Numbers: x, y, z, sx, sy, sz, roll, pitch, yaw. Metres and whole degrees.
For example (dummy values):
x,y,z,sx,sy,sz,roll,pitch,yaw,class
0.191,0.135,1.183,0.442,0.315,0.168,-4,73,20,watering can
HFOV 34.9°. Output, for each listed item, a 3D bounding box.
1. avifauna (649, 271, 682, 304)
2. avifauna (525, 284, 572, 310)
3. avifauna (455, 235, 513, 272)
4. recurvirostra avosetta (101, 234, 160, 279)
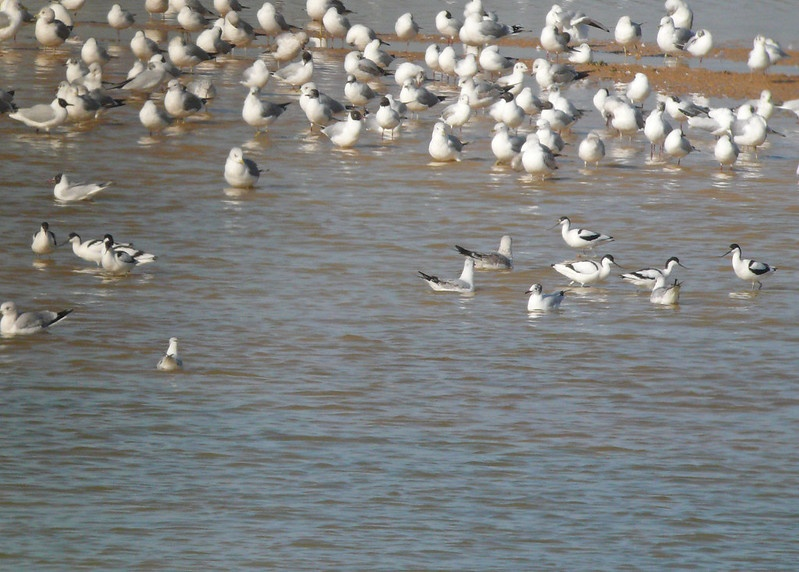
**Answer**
x,y,z,sx,sy,sz,roll,pitch,yaw,class
4.959,0.095,23.451,0.536,0.758,0.628,10,68,11,avifauna
2.641,0.277,22.970,0.614,0.821,0.466,4,69,8,avifauna
1.699,-0.651,24.656,1.339,0.660,0.518,-1,41,16,avifauna
-5.120,-0.530,23.670,0.563,1.033,0.514,14,108,46,recurvirostra avosetta
